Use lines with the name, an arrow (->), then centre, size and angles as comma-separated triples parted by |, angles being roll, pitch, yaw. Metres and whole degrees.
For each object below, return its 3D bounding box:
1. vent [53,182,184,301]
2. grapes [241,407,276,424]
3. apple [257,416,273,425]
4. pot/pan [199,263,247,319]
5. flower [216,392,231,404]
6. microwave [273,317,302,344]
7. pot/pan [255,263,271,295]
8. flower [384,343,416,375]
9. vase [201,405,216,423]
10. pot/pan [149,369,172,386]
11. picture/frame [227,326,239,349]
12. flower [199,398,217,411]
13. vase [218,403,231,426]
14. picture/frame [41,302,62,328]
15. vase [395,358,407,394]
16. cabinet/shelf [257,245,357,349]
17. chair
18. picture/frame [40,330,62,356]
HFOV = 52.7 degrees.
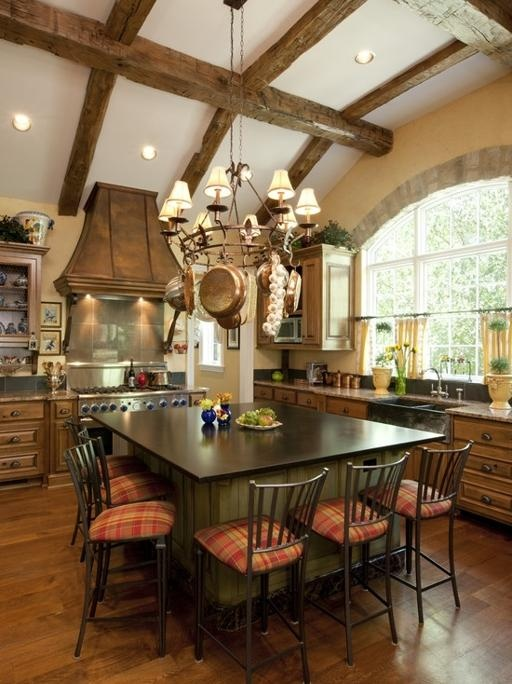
vent -> -1.382, -0.966, 5.357 | 1.350, 1.163, 0.753 | -2, -1, -31
grapes -> 0.005, 0.428, 3.085 | 0.123, 0.059, 0.131 | 1, -3, -29
apple -> 0.050, 0.470, 3.047 | 0.078, 0.057, 0.076 | 2, 3, 15
pot/pan -> -0.152, -0.230, 2.388 | 0.262, 0.251, 0.121 | 4, 4, 44
flower -> -0.201, 0.347, 3.236 | 0.123, 0.090, 0.128 | 1, -7, -7
microwave -> 0.368, -0.117, 5.867 | 0.261, 0.279, 0.403 | 2, -2, -27
pot/pan -> 0.035, -0.331, 2.610 | 0.027, 0.132, 0.132 | 2, 27, -15
flower -> 1.339, 0.168, 4.853 | 0.286, 0.367, 0.283 | -1, -3, 16
vase -> -0.288, 0.452, 3.194 | 0.094, 0.122, 0.092 | 1, -2, -31
pot/pan -> -1.017, 0.378, 5.472 | 0.196, 0.136, 0.151 | -1, 2, -32
picture/frame -> -0.279, -0.046, 6.317 | 0.025, 0.302, 0.264 | 0, 1, -29
flower -> -0.300, 0.390, 3.210 | 0.088, 0.072, 0.087 | 1, -6, -30
vase -> -0.200, 0.449, 3.149 | 0.079, 0.131, 0.180 | 1, 2, -4
picture/frame -> -2.033, -0.269, 5.108 | 0.268, 0.304, 0.023 | 2, -3, -42
vase -> 1.330, 0.326, 4.796 | 0.100, 0.316, 0.236 | 2, 3, 16
cabinet/shelf -> 0.487, -0.449, 5.912 | 0.442, 1.098, 1.263 | -1, 3, -34
chair -> -0.097, 0.848, 2.546 | 1.234, 0.596, 1.222 | 0, 0, -26
picture/frame -> -2.032, 0.009, 5.097 | 0.243, 0.267, 0.018 | 8, -5, -42
